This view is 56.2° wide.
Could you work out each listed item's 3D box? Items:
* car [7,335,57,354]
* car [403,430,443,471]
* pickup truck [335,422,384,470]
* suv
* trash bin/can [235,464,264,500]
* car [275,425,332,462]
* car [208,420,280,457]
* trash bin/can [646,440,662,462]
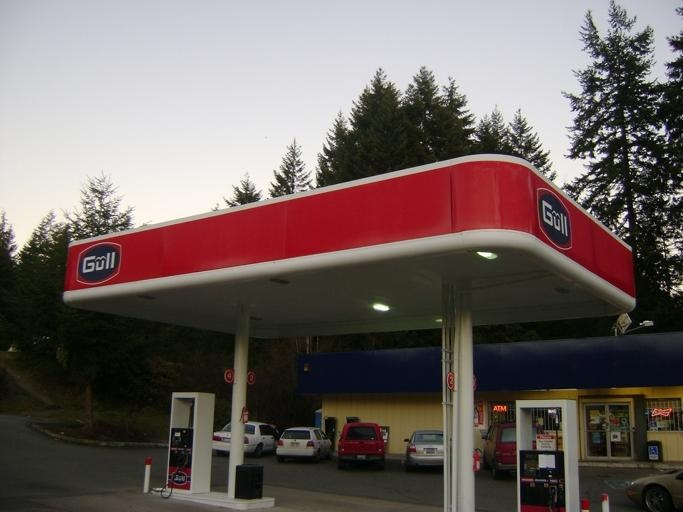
[{"bbox_3d":[-23.246,6.738,48.647,2.200,0.993,2.455,-10,0,4],"label":"car"},{"bbox_3d":[3.401,8.021,26.526,1.479,1.572,1.138,-2,-18,7],"label":"car"},{"bbox_3d":[0.966,7.736,29.219,1.987,1.990,3.831,1,15,6],"label":"pickup truck"},{"bbox_3d":[6.708,7.746,25.964,1.854,1.994,4.174,0,-5,9],"label":"suv"},{"bbox_3d":[-2.658,6.853,19.430,0.869,1.364,0.883,-10,-16,29],"label":"trash bin/can"},{"bbox_3d":[-1.596,9.015,30.818,1.288,1.075,2.790,-2,-10,15],"label":"car"},{"bbox_3d":[-4.841,9.124,32.102,1.596,1.677,4.569,-6,-21,18],"label":"car"},{"bbox_3d":[13.673,8.595,28.169,0.711,1.383,0.793,-3,-13,25],"label":"trash bin/can"}]
